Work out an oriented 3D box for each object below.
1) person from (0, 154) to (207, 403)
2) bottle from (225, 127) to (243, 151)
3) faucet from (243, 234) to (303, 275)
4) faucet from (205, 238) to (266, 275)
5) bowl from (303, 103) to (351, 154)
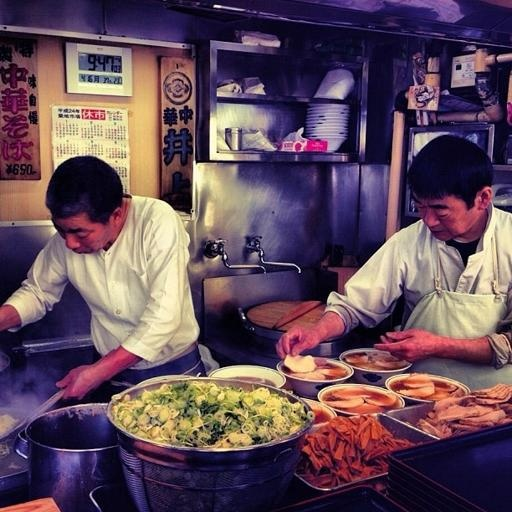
[{"bbox_3d":[-0.758,0.072,2.062,0.822,0.847,0.712,4,1,34],"label":"person"},{"bbox_3d":[-0.151,-0.773,3.052,0.124,0.174,0.114,-1,28,0],"label":"bottle"},{"bbox_3d":[0.220,0.008,3.746,0.162,0.338,0.818,-6,-14,40],"label":"faucet"},{"bbox_3d":[-0.167,-0.010,3.365,0.348,0.153,0.226,13,0,7],"label":"faucet"},{"bbox_3d":[0.542,-0.930,3.442,0.341,0.363,0.345,2,7,0],"label":"bowl"}]
